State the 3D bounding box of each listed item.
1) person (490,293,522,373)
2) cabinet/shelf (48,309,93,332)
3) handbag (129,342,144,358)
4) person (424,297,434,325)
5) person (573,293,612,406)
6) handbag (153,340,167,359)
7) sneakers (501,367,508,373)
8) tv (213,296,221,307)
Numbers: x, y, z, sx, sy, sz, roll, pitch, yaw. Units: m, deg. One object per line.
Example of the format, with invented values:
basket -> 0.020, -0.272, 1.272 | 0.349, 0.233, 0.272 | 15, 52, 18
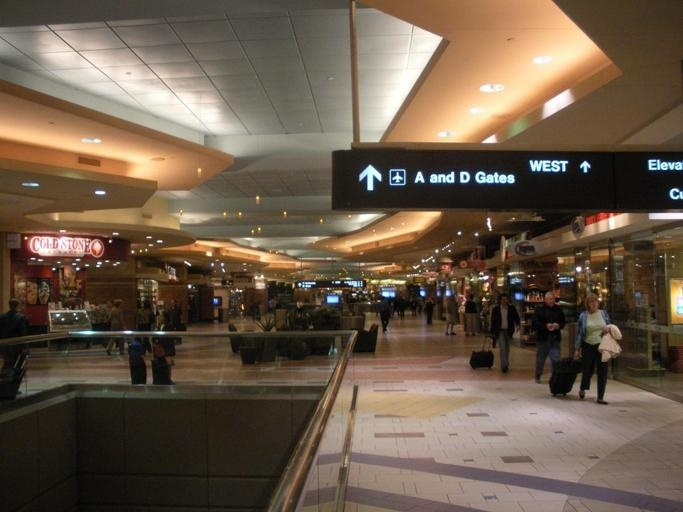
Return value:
person -> 3.885, 1.780, 12.640 | 0.655, 1.794, 1.125 | -3, -4, 15
cabinet/shelf -> -8.394, 1.940, 16.383 | 1.168, 0.606, 0.846 | 0, -4, -27
handbag -> -3.400, 1.548, 8.823 | 0.318, 0.279, 0.175 | 0, -3, -4
person -> 5.004, 3.056, 30.201 | 0.380, 1.520, 0.938 | -3, -4, 5
person -> 4.373, 1.584, 9.227 | 0.554, 1.860, 0.739 | -4, -4, 23
handbag -> -3.021, 1.529, 8.818 | 0.197, 0.293, 0.067 | -1, -4, -20
sneakers -> 3.771, 2.605, 12.276 | 0.179, 0.141, 0.115 | 2, 7, 7
tv -> -9.880, 3.548, 42.127 | 0.958, 0.771, 0.487 | 5, -10, -37
